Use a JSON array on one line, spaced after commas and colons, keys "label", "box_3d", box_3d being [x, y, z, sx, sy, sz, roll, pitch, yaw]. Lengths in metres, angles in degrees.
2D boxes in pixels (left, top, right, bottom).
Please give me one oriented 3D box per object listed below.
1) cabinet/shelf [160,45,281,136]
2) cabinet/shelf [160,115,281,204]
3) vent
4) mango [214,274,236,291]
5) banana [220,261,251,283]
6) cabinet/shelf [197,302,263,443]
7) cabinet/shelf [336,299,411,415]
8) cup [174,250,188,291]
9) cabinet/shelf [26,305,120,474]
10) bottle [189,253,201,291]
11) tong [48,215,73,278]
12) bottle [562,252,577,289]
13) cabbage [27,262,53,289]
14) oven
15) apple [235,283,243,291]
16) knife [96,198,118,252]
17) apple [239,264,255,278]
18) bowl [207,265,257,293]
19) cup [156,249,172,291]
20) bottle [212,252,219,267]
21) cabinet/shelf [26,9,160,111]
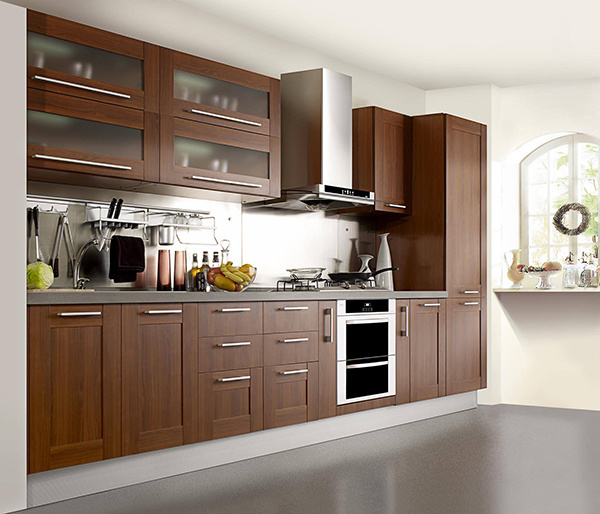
[{"label": "cabinet/shelf", "box_3d": [-0.576, -1.062, 3.469, 0.864, 0.431, 0.276, 1, -3, -38]}, {"label": "cabinet/shelf", "box_3d": [-0.548, -0.666, 3.437, 0.169, 0.445, 1.000, 5, 4, 41]}, {"label": "vent", "box_3d": [0.109, -0.979, 4.204, 1.057, 0.960, 1.044, -1, 8, -6]}, {"label": "mango", "box_3d": [-0.475, 0.170, 3.201, 0.145, 0.075, 0.071, 24, -13, 5]}, {"label": "banana", "box_3d": [-0.410, 0.104, 3.222, 0.167, 0.075, 0.124, 9, -1, 31]}, {"label": "cabinet/shelf", "box_3d": [-0.495, 0.677, 3.065, 0.440, 0.759, 0.430, 3, -9, -30]}, {"label": "cabinet/shelf", "box_3d": [0.382, 0.696, 3.896, 0.553, 0.760, 0.519, 0, 1, -25]}, {"label": "cup", "box_3d": [-0.802, 0.090, 3.411, 0.086, 0.264, 0.081, 0, 1, 0]}, {"label": "cabinet/shelf", "box_3d": [-1.232, 0.628, 2.469, 0.539, 0.732, 0.534, 3, -16, -36]}, {"label": "bottle", "box_3d": [-0.717, 0.098, 3.441, 0.078, 0.241, 0.302, -1, 1, -11]}, {"label": "tong", "box_3d": [-1.408, -0.061, 3.036, 0.037, 0.375, 0.142, 0, 0, 30]}, {"label": "bottle", "box_3d": [2.570, 0.124, 4.829, 0.134, 0.331, 0.485, 0, 1, 27]}, {"label": "cabbage", "box_3d": [-1.332, 0.098, 2.655, 0.134, 0.134, 0.129, 1, -4, -12]}, {"label": "oven", "box_3d": [0.590, 0.813, 3.827, 0.546, 0.636, 0.503, -7, -27, 20]}, {"label": "apple", "box_3d": [-0.388, 0.193, 3.216, 0.043, 0.043, 0.043, 0, 1, -33]}, {"label": "knife", "box_3d": [-1.198, -0.186, 3.134, 0.107, 0.364, 0.063, 18, -7, -20]}, {"label": "apple", "box_3d": [-0.323, 0.097, 3.252, 0.091, 0.092, 0.069, -10, -11, 39]}, {"label": "bowl", "box_3d": [-0.448, 0.133, 3.238, 0.206, 0.114, 0.194, -1, -3, 0]}, {"label": "cup", "box_3d": [-0.899, 0.085, 3.362, 0.092, 0.267, 0.064, -1, 1, -16]}, {"label": "bottle", "box_3d": [-0.594, 0.014, 3.603, 0.056, 0.108, 0.232, -1, 1, -10]}, {"label": "cabinet/shelf", "box_3d": [-1.248, -0.963, 2.895, 0.714, 0.445, 0.385, 5, -9, -44]}]
